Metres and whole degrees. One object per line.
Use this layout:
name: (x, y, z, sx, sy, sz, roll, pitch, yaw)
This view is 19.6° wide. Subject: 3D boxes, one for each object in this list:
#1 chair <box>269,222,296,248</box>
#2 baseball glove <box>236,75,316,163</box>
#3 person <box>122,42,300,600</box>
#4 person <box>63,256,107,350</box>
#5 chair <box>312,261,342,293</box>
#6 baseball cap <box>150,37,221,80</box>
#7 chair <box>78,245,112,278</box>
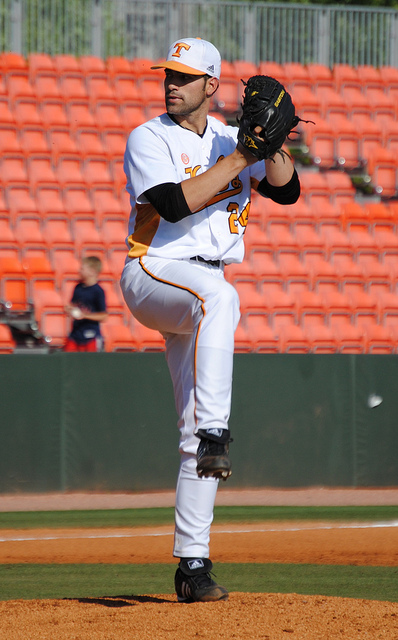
chair: (0.862, -0.908, 12.065, 0.263, 0.268, 0.267, 1, -2, -3)
baseball glove: (0.344, -0.924, 5.156, 0.278, 0.384, 0.276, 0, -1, 22)
person: (0.007, -0.020, 5.214, 0.758, 2.519, 0.843, 3, 4, 3)
person: (-0.852, -0.135, 8.906, 0.290, 0.730, 0.339, 3, 4, -7)
chair: (1.282, -0.481, 11.734, 0.296, 0.422, 0.285, 1, -9, 1)
baseball cap: (-0.042, -1.235, 5.351, 0.330, 0.193, 0.237, -2, 15, -40)
chair: (-0.955, -0.576, 10.716, 0.291, 0.283, 0.323, 1, -5, -3)
